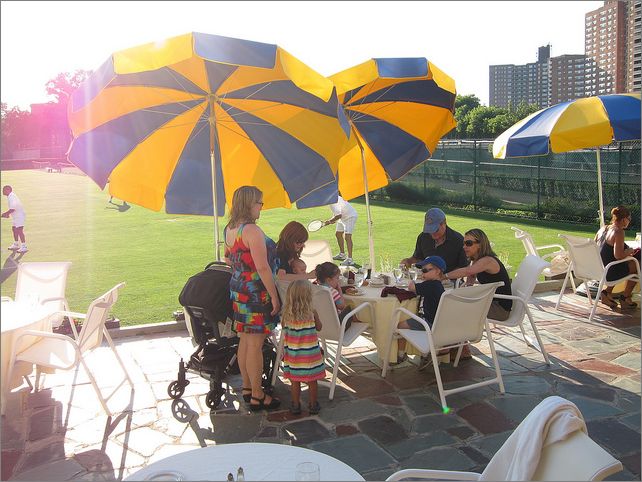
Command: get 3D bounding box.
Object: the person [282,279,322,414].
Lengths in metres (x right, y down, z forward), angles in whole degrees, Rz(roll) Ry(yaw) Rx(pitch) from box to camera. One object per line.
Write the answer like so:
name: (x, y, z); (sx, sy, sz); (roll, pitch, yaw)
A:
person: (-0.205, 1.166, 5.114); (0.439, 1.511, 0.417); (-3, 10, -7)

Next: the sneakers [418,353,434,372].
sneakers: (1.367, 1.631, 6.135); (0.116, 0.307, 0.103); (35, -24, 3)

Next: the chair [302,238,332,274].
chair: (-0.090, 0.273, 8.012); (0.490, 0.771, 0.531); (-2, 5, -4)

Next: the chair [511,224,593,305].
chair: (4.542, 0.516, 9.148); (1.217, 1.599, 1.037); (-17, 8, 11)

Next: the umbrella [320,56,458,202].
umbrella: (1.110, -2.187, 7.786); (1.990, 1.974, 1.343); (-33, 37, -4)

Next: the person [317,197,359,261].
person: (0.400, -0.407, 12.113); (1.081, 2.156, 0.745); (-8, 18, -11)

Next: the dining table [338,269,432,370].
dining table: (0.829, 0.986, 6.032); (0.904, 0.903, 0.925); (-15, 22, -35)

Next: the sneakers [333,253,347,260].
sneakers: (0.509, 0.468, 12.479); (0.340, 0.166, 0.145); (1, -2, 10)

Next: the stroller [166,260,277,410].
stroller: (-1.141, 1.047, 5.717); (0.848, 1.660, 1.215); (-3, -2, 33)

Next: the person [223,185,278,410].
person: (-0.759, 0.675, 5.125); (0.591, 2.512, 0.408); (-1, 10, 4)

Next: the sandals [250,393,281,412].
sandals: (-0.636, 1.861, 5.268); (0.314, 0.143, 0.155); (-4, 7, -22)

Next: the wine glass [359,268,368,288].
wine glass: (0.584, 0.536, 6.405); (0.157, 0.300, 0.178); (1, -28, -3)

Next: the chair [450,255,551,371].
chair: (2.422, 0.925, 6.300); (1.110, 1.352, 0.914); (0, 7, 13)

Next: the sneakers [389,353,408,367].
sneakers: (1.071, 1.621, 6.253); (0.327, 0.144, 0.117); (3, -3, -39)

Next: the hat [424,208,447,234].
hat: (1.580, -0.249, 6.498); (0.272, 0.375, 0.253); (0, 10, 10)

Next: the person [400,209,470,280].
person: (1.617, 0.063, 6.640); (0.893, 1.073, 0.717); (9, 25, 35)

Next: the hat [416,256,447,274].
hat: (1.364, 0.328, 5.725); (0.334, 0.170, 0.223); (4, -3, 7)

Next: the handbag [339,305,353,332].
handbag: (0.309, 0.967, 5.605); (0.181, 0.262, 0.091); (12, 9, 43)

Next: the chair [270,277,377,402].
chair: (0.185, 1.072, 5.757); (0.997, 1.222, 0.878); (-12, 11, -37)

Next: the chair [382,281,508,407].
chair: (1.442, 1.109, 5.542); (1.047, 1.367, 1.191); (-3, 8, -19)

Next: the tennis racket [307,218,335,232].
tennis racket: (-0.062, -0.229, 8.897); (0.370, 0.080, 0.272); (-19, 51, 1)
